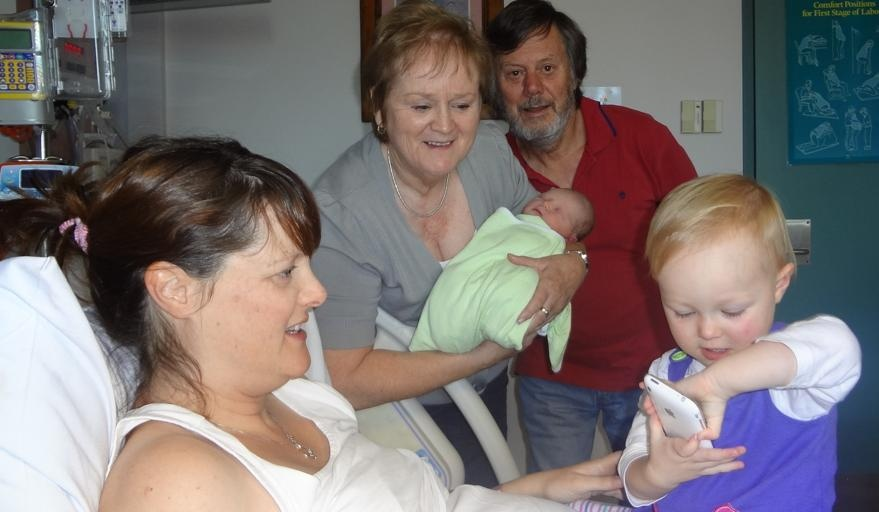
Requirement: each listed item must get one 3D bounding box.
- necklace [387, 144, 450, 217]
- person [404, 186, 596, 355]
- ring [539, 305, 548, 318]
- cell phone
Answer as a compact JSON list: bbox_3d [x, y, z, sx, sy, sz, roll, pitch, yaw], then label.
[{"bbox_3d":[-0.134,-0.305,2.837,0.200,0.287,0.050,-9,19,-10],"label":"necklace"},{"bbox_3d":[0.359,0.064,2.893,0.610,0.279,0.957,20,53,30],"label":"person"},{"bbox_3d":[0.404,0.210,2.725,0.027,0.030,0.034,-9,-22,-43],"label":"ring"},{"bbox_3d":[0.749,0.481,2.226,0.168,0.041,0.285,42,-13,21],"label":"cell phone"}]
